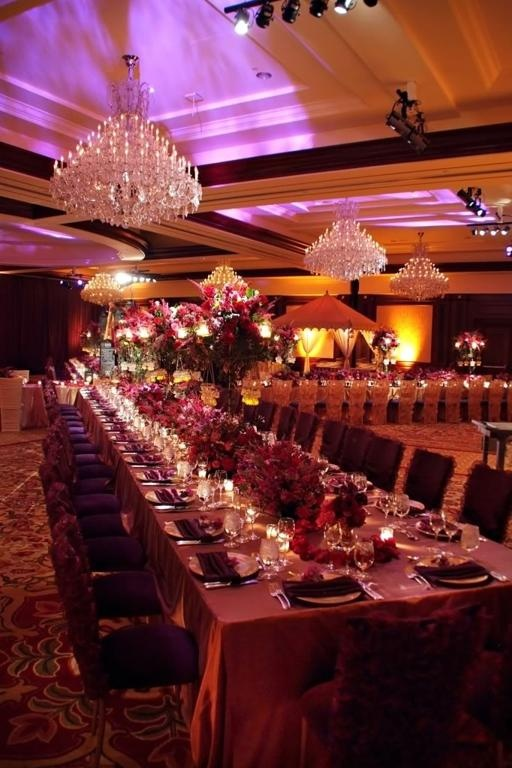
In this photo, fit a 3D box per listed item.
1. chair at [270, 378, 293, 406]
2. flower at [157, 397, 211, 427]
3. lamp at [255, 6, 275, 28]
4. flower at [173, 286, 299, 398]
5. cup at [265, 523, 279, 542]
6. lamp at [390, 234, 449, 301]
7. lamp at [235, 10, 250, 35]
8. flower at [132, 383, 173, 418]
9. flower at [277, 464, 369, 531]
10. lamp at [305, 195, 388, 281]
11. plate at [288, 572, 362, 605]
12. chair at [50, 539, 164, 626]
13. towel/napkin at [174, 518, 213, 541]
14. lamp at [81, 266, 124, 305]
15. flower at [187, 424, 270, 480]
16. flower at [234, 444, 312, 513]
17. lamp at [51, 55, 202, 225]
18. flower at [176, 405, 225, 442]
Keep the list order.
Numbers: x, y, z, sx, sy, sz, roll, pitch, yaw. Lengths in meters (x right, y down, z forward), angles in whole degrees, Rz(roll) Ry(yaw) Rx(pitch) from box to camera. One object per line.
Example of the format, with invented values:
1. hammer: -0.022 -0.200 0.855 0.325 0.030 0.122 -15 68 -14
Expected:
1. chair: 0.515 0.160 10.201 0.435 0.850 0.444 3 -1 1
2. flower: -0.496 0.193 3.548 0.311 0.191 0.325 0 -3 2
3. lamp: 0.052 -2.357 3.244 0.093 0.127 0.155 3 9 -8
4. flower: -0.082 -0.285 3.408 0.543 0.522 0.559 12 -2 -9
5. cup: 0.068 0.555 1.931 0.066 0.083 0.074 0 -6 4
6. lamp: 3.678 -2.594 11.310 1.080 1.598 1.102 2 -2 -15
7. lamp: -0.089 -2.353 3.295 0.088 0.131 0.157 3 9 -8
8. flower: -0.939 0.151 4.645 0.333 0.313 0.354 11 3 5
9. flower: 0.297 0.532 2.257 0.421 0.347 0.408 -4 -17 1
10. lamp: 1.625 -2.570 9.251 1.569 1.750 1.537 -11 23 -29
11. plate: 0.216 0.624 1.540 0.130 0.030 0.087 0 -4 -24
12. chair: -0.630 0.853 2.270 0.338 0.367 0.215 15 22 -21
13. towel/napkin: -0.247 0.606 2.093 0.098 0.029 0.102 2 6 -19
14. lamp: -4.518 -2.827 14.998 1.083 0.954 1.762 2 9 -20
15. flower: -0.219 0.343 3.084 0.384 0.333 0.430 -19 16 -27
16. flower: 0.126 0.457 2.313 0.327 0.271 0.339 -13 3 -20
17. lamp: -1.207 -2.253 5.175 1.298 1.597 1.353 1 -5 -11
18. flower: -0.356 0.219 3.138 0.226 0.158 0.267 -7 19 0
